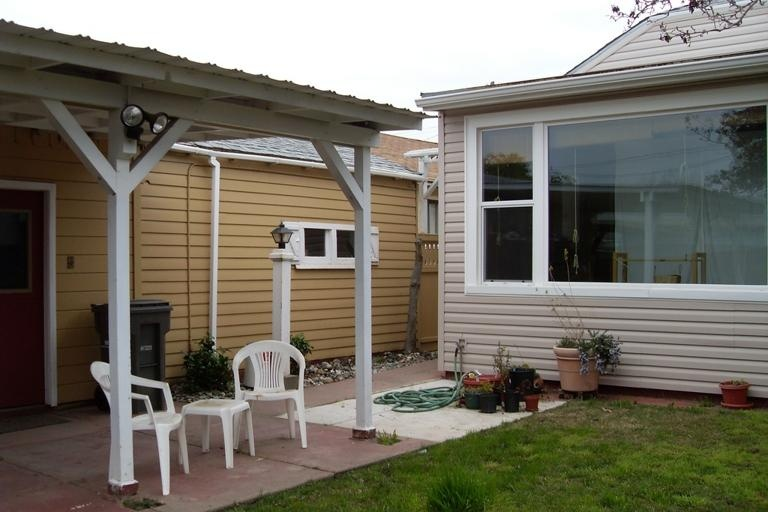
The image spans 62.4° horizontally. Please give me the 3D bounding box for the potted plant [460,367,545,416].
[{"bbox_3d":[1.545,1.837,8.528,0.824,0.342,0.628,-1,-1,41],"label":"potted plant"}]

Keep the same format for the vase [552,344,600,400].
[{"bbox_3d":[2.717,1.660,8.906,0.677,0.521,0.664,0,-7,2],"label":"vase"}]

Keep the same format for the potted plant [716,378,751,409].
[{"bbox_3d":[4.569,1.812,8.274,0.353,0.248,0.346,-1,-4,5],"label":"potted plant"}]

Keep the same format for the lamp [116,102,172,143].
[{"bbox_3d":[-2.270,-1.250,5.989,0.200,0.328,0.416,3,1,38],"label":"lamp"}]
